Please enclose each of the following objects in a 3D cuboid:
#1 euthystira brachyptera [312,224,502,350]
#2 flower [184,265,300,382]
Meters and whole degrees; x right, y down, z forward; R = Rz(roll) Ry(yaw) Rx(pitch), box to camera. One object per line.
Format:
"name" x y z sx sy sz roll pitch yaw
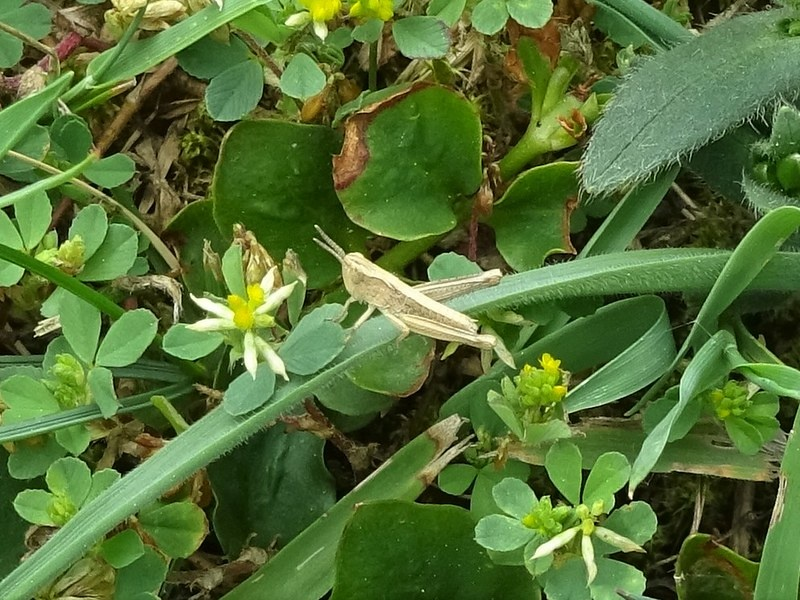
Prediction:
"euthystira brachyptera" 0.011 -0.009 1.904 0.469 0.239 0.237 18 48 -4
"flower" -0.343 0.053 1.790 0.170 0.309 0.189 9 29 7
